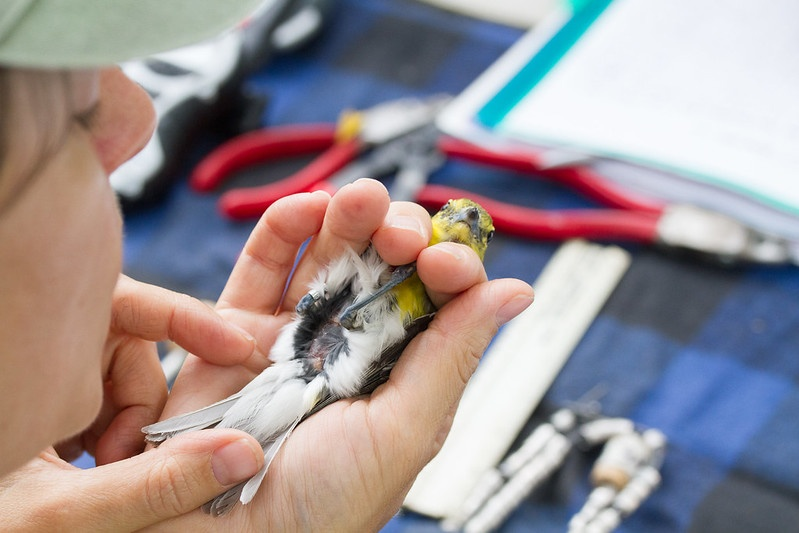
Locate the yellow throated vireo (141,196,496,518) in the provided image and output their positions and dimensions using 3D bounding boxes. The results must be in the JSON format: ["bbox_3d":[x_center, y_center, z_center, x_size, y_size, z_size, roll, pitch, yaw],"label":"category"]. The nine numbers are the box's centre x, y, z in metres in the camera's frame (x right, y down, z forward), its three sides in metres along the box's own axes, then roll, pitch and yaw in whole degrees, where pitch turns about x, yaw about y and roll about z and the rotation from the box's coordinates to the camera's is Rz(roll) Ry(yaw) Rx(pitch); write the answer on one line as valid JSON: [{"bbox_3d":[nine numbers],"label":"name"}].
[{"bbox_3d":[-0.219,0.311,2.826,1.009,0.431,0.338,-42,97,-22],"label":"yellow throated vireo"}]
